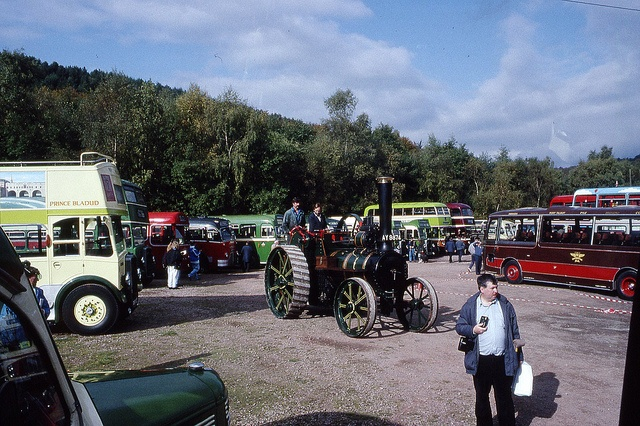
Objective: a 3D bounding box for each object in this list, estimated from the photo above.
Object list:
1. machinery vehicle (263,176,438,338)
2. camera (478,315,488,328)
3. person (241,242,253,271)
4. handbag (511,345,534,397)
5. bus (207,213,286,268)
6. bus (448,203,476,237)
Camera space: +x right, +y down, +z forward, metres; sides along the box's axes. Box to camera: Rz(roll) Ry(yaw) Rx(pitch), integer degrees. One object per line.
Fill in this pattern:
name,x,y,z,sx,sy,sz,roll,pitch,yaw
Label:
machinery vehicle,1.073,1.294,19.541,2.943,5.336,6.354,-5,5,-39
camera,2.522,1.666,7.493,0.145,0.145,0.187,3,1,29
person,-4.246,2.517,28.015,0.620,1.492,1.865,2,1,-9
handbag,3.261,2.579,7.768,0.253,0.753,0.987,2,1,26
bus,-3.471,1.427,30.234,6.100,3.787,2.401,-1,0,9
bus,12.389,0.479,42.292,1.591,2.579,4.641,-1,-3,-10
